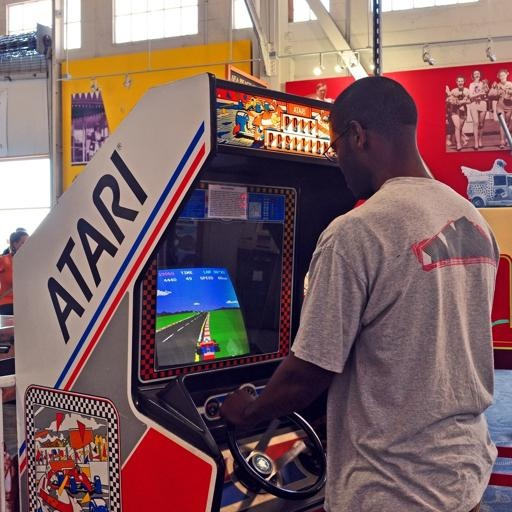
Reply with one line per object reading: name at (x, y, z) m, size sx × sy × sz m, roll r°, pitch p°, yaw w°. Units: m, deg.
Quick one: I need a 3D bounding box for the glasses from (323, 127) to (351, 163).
glasses at (0.243, -0.333, 2.088) m, size 0.025 × 0.096 × 0.091 m, roll -1°, pitch 3°, yaw 44°
